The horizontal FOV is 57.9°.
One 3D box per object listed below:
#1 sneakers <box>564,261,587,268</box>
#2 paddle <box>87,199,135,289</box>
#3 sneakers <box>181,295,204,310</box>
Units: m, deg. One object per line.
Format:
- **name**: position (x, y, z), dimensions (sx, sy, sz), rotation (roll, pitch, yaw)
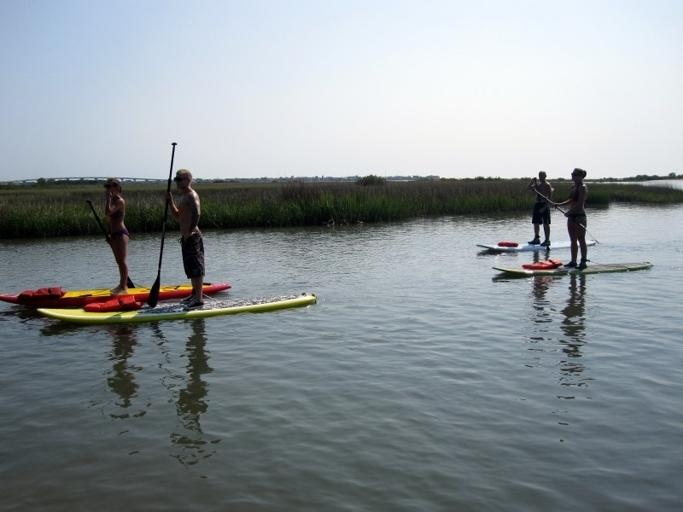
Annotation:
- **sneakers**: position (5.421, 0.202, 14.403), dimensions (0.499, 0.147, 0.158), rotation (4, 5, 22)
- **paddle**: position (-5.987, -0.260, 15.945), dimensions (0.760, 0.745, 6.632), rotation (-44, 30, -3)
- **sneakers**: position (-2.690, 0.818, 11.166), dimensions (0.431, 0.093, 0.259), rotation (-1, 8, -12)
